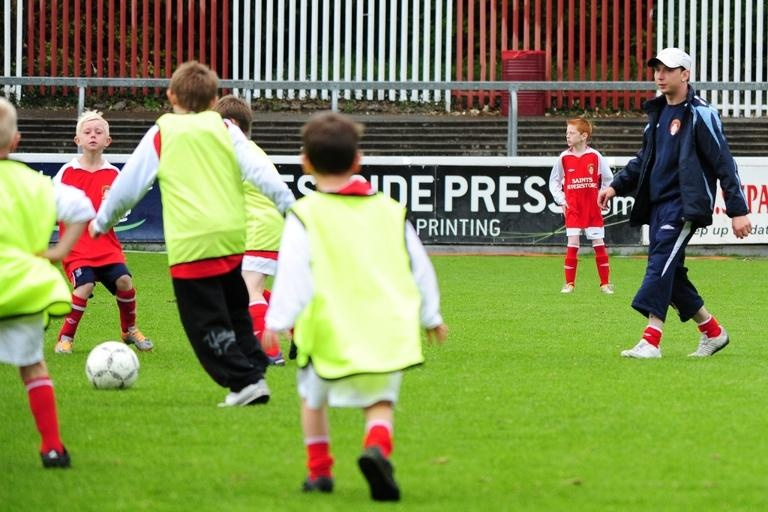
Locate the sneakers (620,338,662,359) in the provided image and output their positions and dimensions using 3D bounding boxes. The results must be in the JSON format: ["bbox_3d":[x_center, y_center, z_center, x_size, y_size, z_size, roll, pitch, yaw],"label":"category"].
[{"bbox_3d":[2.531,0.901,12.740,0.321,0.138,0.183,2,-4,-11],"label":"sneakers"}]

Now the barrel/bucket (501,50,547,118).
[{"bbox_3d":[3.040,-3.824,28.463,0.969,1.286,2.152,1,12,6],"label":"barrel/bucket"}]

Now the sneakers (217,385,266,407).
[{"bbox_3d":[-1.221,1.205,11.420,0.468,0.205,0.169,-2,3,-5],"label":"sneakers"}]

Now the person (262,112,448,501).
[{"bbox_3d":[-0.296,0.373,10.086,1.164,2.865,0.679,0,12,0],"label":"person"}]

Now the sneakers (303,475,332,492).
[{"bbox_3d":[-0.516,1.766,10.130,0.170,0.079,0.132,0,-4,34],"label":"sneakers"}]

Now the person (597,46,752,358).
[{"bbox_3d":[2.896,-0.508,12.898,1.230,3.050,1.024,0,12,-2],"label":"person"}]

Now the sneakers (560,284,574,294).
[{"bbox_3d":[2.336,0.409,16.745,0.078,0.081,0.184,0,-2,24],"label":"sneakers"}]

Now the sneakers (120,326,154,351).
[{"bbox_3d":[-2.500,0.830,13.138,0.274,0.093,0.132,27,-22,23],"label":"sneakers"}]

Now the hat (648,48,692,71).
[{"bbox_3d":[2.878,-1.948,12.826,0.366,0.159,0.253,9,-3,-44],"label":"hat"}]

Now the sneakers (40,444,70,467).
[{"bbox_3d":[-2.602,1.604,10.353,0.129,0.134,0.209,0,-7,4],"label":"sneakers"}]

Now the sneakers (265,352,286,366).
[{"bbox_3d":[-1.042,0.982,12.595,0.127,0.140,0.162,-6,-1,-12],"label":"sneakers"}]

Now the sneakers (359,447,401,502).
[{"bbox_3d":[-0.039,1.668,10.053,0.216,0.499,0.216,-8,26,18],"label":"sneakers"}]

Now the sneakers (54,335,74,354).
[{"bbox_3d":[-3.187,0.880,12.973,0.117,0.135,0.199,8,-7,-25],"label":"sneakers"}]
